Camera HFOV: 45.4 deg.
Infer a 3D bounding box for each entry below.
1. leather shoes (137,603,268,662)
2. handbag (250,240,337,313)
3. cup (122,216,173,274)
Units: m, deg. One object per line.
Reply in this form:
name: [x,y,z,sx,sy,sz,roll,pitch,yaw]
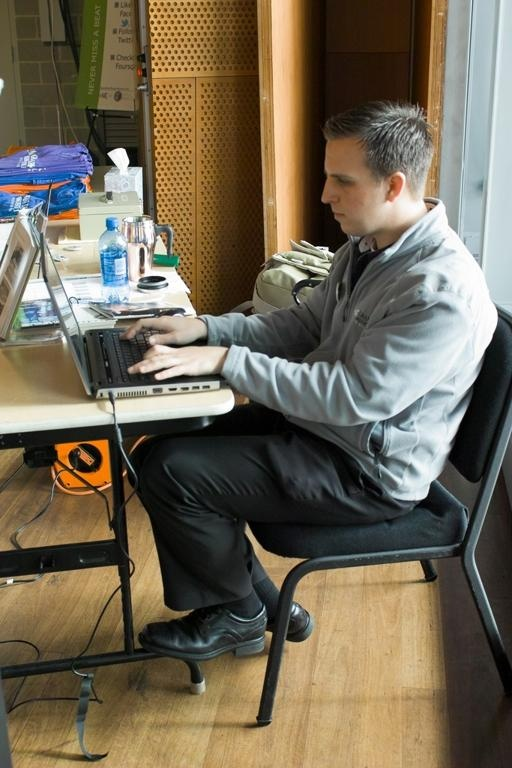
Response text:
leather shoes: [-0.113,0.518,1.340,0.276,0.131,0.115,6,10,-13]
handbag: [0.128,-0.424,2.325,0.357,0.159,0.271,-15,32,-12]
cup: [-0.317,-0.469,2.037,0.223,0.231,0.152,-1,18,-8]
